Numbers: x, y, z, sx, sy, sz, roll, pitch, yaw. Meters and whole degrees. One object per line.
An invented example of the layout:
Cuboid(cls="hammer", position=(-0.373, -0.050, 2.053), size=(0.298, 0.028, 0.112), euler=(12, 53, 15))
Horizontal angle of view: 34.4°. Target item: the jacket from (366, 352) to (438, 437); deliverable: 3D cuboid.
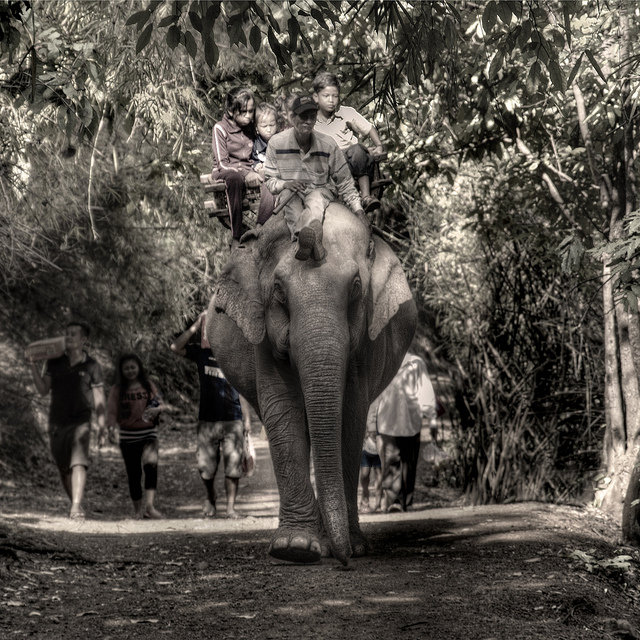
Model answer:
Cuboid(cls="jacket", position=(0.607, 0.600, 8.542), size=(0.441, 0.570, 0.718), euler=(15, 16, 36))

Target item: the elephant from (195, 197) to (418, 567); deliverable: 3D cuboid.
Cuboid(cls="elephant", position=(-0.052, 0.370, 6.511), size=(1.312, 2.155, 2.185), euler=(-1, -2, -7))

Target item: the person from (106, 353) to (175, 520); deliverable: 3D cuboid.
Cuboid(cls="person", position=(-1.555, 0.989, 8.663), size=(0.465, 1.391, 0.492), euler=(-1, -1, -11))

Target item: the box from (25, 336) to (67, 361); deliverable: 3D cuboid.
Cuboid(cls="box", position=(-2.201, 0.247, 8.379), size=(0.168, 0.116, 0.244), euler=(-10, -8, -12))

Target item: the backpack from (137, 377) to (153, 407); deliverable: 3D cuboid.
Cuboid(cls="backpack", position=(-1.467, 0.604, 8.710), size=(0.120, 0.212, 0.062), euler=(3, -11, -27))

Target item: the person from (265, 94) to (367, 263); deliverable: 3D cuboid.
Cuboid(cls="person", position=(-0.050, -0.760, 6.013), size=(0.512, 0.680, 0.999), euler=(-3, 45, -3))
